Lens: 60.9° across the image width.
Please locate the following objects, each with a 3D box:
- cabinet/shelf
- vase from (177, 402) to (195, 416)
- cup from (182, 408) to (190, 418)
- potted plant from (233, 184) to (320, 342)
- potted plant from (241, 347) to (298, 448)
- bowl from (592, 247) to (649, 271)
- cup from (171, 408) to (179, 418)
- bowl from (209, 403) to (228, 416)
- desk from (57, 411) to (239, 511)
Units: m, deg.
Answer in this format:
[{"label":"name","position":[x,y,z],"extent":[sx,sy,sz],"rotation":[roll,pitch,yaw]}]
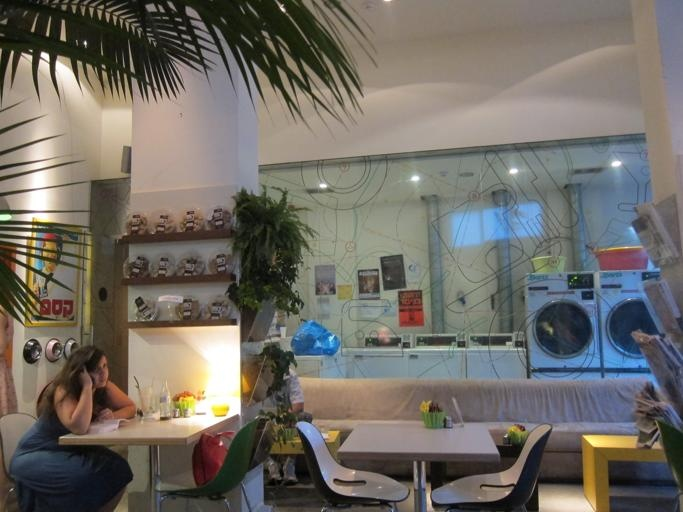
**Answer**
[{"label":"cabinet/shelf","position":[-1.360,0.002,4.895],"extent":[0.873,0.337,0.661],"rotation":[7,22,-25]},{"label":"vase","position":[-1.164,1.148,4.381],"extent":[0.142,0.124,0.085],"rotation":[2,1,-8]},{"label":"cup","position":[-1.153,1.177,4.364],"extent":[0.035,0.057,0.056],"rotation":[-5,-9,35]},{"label":"potted plant","position":[-0.471,0.061,5.088],"extent":[0.597,1.272,1.384],"rotation":[-5,-5,15]},{"label":"potted plant","position":[-0.543,1.116,4.773],"extent":[0.243,0.800,0.607],"rotation":[-5,-5,25]},{"label":"bowl","position":[2.881,0.021,6.001],"extent":[0.294,0.230,0.293],"rotation":[2,-7,0]},{"label":"cup","position":[-1.238,1.179,4.379],"extent":[0.053,0.069,0.060],"rotation":[1,-5,0]},{"label":"bowl","position":[-0.907,1.164,4.395],"extent":[0.082,0.061,0.091],"rotation":[1,0,10]},{"label":"desk","position":[-1.275,1.215,4.031],"extent":[0.702,0.822,0.769],"rotation":[-1,-5,20]}]
